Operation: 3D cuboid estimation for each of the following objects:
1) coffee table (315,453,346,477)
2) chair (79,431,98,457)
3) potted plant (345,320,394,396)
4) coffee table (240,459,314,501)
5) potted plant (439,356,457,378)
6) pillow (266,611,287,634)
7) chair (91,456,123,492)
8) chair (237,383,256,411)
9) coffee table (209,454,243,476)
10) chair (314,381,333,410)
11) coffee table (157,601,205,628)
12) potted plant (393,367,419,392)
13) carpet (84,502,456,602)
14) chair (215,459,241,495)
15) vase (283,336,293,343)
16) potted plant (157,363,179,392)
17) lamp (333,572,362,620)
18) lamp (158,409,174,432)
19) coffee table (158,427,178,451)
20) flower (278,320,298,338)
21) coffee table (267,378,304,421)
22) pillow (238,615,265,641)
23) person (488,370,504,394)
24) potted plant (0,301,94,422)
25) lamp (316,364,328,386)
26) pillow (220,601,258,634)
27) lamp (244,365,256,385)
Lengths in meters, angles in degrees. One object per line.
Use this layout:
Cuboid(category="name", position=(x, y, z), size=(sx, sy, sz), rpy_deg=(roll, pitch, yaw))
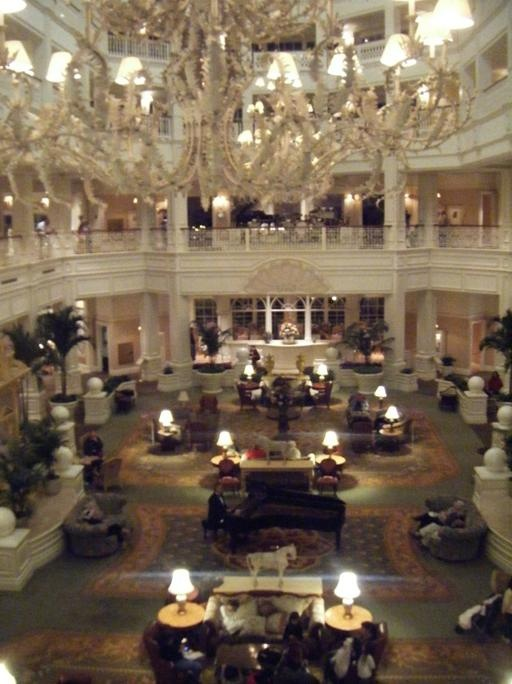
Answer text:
Cuboid(category="coffee table", position=(1.339, 2.226, 10.282), size=(0.432, 0.446, 0.451), rpy_deg=(4, 24, 9))
Cuboid(category="chair", position=(-3.095, 1.958, 10.925), size=(0.367, 0.483, 0.163), rpy_deg=(10, -8, 1))
Cuboid(category="potted plant", position=(3.716, 0.343, 18.713), size=(1.438, 2.161, 2.777), rpy_deg=(1, 6, 13))
Cuboid(category="coffee table", position=(0.378, 2.292, 9.770), size=(1.684, 0.762, 0.485), rpy_deg=(0, 42, 1))
Cuboid(category="potted plant", position=(6.435, 0.853, 19.209), size=(0.696, 0.745, 0.689), rpy_deg=(-1, 4, -7))
Cuboid(category="pillow", position=(0.203, 2.688, 5.467), size=(0.133, 0.053, 0.179), rpy_deg=(-3, 29, 11))
Cuboid(category="chair", position=(-2.661, 2.399, 10.255), size=(0.448, 0.635, 0.451), rpy_deg=(20, 27, 39))
Cuboid(category="chair", position=(-0.278, 1.529, 15.789), size=(0.642, 0.880, 0.672), rpy_deg=(1, 11, 3))
Cuboid(category="coffee table", position=(-0.491, 2.210, 10.258), size=(0.472, 0.290, 0.458), rpy_deg=(-4, 9, -38))
Cuboid(category="chair", position=(1.858, 1.463, 15.799), size=(0.669, 0.694, 0.557), rpy_deg=(0, 3, -1))
Cuboid(category="coffee table", position=(-0.728, 2.714, 5.633), size=(0.345, 0.074, 0.334), rpy_deg=(-2, 7, -24))
Cuboid(category="potted plant", position=(4.693, 1.203, 17.902), size=(0.698, 0.672, 0.680), rpy_deg=(1, 6, 18))
Cuboid(category="carpet", position=(0.248, 2.965, 7.952), size=(4.350, 0.045, 2.355), rpy_deg=(0, 6, 2))
Cuboid(category="chair", position=(-0.462, 2.359, 10.018), size=(0.566, 0.770, 0.580), rpy_deg=(0, 3, -4))
Cuboid(category="vase", position=(1.118, -0.083, 19.024), size=(0.379, 0.301, 0.400), rpy_deg=(0, 6, 4))
Cuboid(category="potted plant", position=(-2.708, 1.145, 17.999), size=(0.670, 0.769, 0.836), rpy_deg=(3, 7, 28))
Cuboid(category="lamp", position=(0.920, 2.528, 5.717), size=(0.264, 0.406, 0.253), rpy_deg=(14, -20, -36))
Cuboid(category="lamp", position=(-2.002, 1.738, 12.931), size=(0.412, 0.417, 0.433), rpy_deg=(1, -9, -8))
Cuboid(category="coffee table", position=(-1.912, 2.096, 12.576), size=(0.445, 0.424, 0.435), rpy_deg=(-8, 26, -21))
Cuboid(category="flower", position=(1.127, -0.451, 19.580), size=(0.634, 0.366, 0.873), rpy_deg=(2, 5, 7))
Cuboid(category="coffee table", position=(0.699, 1.384, 13.436), size=(0.879, 0.972, 0.893), rpy_deg=(7, 24, 17))
Cuboid(category="pillow", position=(-0.021, 2.792, 5.525), size=(0.240, 0.155, 0.155), rpy_deg=(0, 6, 1))
Cuboid(category="person", position=(6.437, 1.130, 15.408), size=(0.356, 0.627, 0.963), rpy_deg=(2, 6, 19))
Cuboid(category="potted plant", position=(-5.817, 0.323, 15.095), size=(2.444, 2.757, 2.466), rpy_deg=(6, 17, 18))
Cuboid(category="lamp", position=(1.957, 0.933, 16.880), size=(0.449, 0.668, 0.439), rpy_deg=(-3, 12, -4))
Cuboid(category="pillow", position=(-0.165, 2.720, 5.627), size=(0.263, 0.083, 0.258), rpy_deg=(-7, 6, -7))
Cuboid(category="lamp", position=(-0.152, 0.912, 16.531), size=(0.308, 0.422, 0.855), rpy_deg=(-1, 6, 0))
